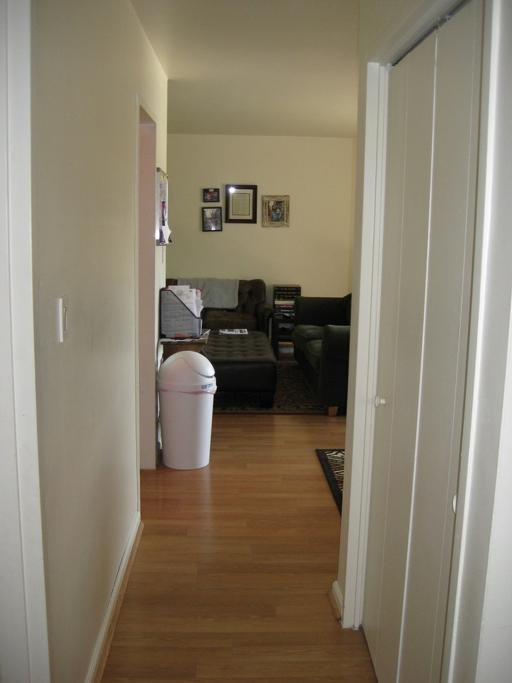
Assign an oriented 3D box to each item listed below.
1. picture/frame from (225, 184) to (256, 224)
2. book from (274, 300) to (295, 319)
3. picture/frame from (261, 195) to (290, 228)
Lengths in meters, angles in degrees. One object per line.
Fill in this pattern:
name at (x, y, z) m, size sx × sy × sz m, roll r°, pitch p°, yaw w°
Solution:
picture/frame at (-0.225, -1.902, 7.230) m, size 0.311 × 0.590 × 0.035 m, roll 0°, pitch 7°, yaw -9°
book at (0.361, -0.441, 6.963) m, size 0.185 × 0.271 × 0.060 m, roll 3°, pitch -20°, yaw -2°
picture/frame at (0.247, -1.805, 7.259) m, size 0.264 × 0.456 × 0.036 m, roll 0°, pitch 5°, yaw -5°
